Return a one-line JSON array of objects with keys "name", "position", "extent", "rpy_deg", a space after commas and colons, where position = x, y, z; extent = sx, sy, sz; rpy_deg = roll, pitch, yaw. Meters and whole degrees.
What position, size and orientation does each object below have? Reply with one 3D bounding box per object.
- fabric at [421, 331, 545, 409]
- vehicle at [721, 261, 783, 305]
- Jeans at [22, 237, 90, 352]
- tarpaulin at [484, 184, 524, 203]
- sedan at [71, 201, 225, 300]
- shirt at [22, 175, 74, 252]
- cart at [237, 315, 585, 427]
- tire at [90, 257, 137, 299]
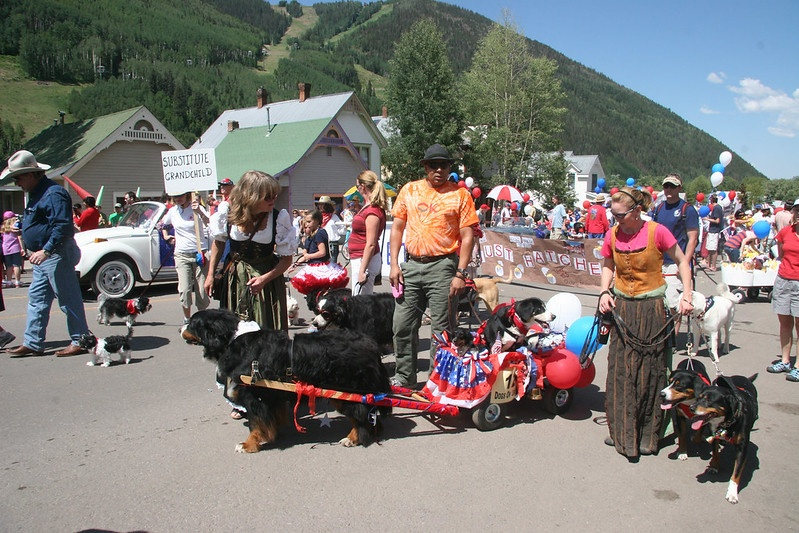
[{"name": "fabric", "position": [0.899, 1.282, 7.680], "extent": [1.025, 0.687, 0.874], "rpy_deg": [0, 1, 44]}, {"name": "vehicle", "position": [7.287, 0.300, 13.052], "extent": [0.985, 0.795, 0.717], "rpy_deg": [4, 18, 10]}, {"name": "Jeans", "position": [-5.259, 0.384, 9.467], "extent": [0.911, 1.698, 0.582], "rpy_deg": [-1, 3, -20]}, {"name": "tarpaulin", "position": [3.933, -2.610, 22.809], "extent": [0.841, 0.363, 0.868], "rpy_deg": [10, 7, 39]}, {"name": "sedan", "position": [-5.355, -0.277, 13.465], "extent": [3.347, 1.969, 1.836], "rpy_deg": [1, -2, -41]}, {"name": "shirt", "position": [-5.340, -0.682, 9.592], "extent": [0.746, 1.443, 1.353], "rpy_deg": [-4, 6, -40]}, {"name": "cart", "position": [0.126, 1.486, 8.020], "extent": [3.151, 1.276, 1.492], "rpy_deg": [5, 0, -7]}, {"name": "tire", "position": [-5.671, 0.189, 12.369], "extent": [0.223, 0.773, 0.648], "rpy_deg": [7, 9, 44]}]
